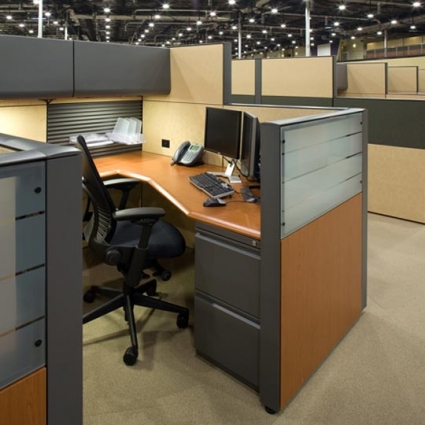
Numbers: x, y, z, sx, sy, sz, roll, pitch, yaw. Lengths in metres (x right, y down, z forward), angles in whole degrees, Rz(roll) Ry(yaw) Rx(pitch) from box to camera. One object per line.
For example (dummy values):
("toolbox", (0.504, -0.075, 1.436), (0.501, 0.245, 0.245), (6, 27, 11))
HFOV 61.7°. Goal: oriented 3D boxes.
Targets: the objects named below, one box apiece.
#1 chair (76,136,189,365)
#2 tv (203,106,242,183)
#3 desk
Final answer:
("chair", (-0.415, 0.051, 2.787), (0.893, 1.807, 1.222), (-3, 19, -13))
("tv", (0.082, -0.512, 2.631), (0.163, 0.616, 0.495), (-1, 12, -32))
("desk", (-0.206, 0.132, 2.631), (0.810, 0.931, 2.119), (-13, 20, -38))
